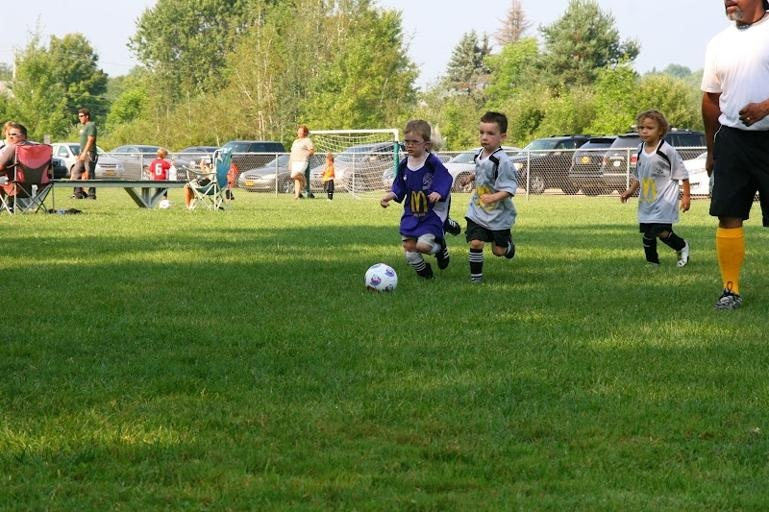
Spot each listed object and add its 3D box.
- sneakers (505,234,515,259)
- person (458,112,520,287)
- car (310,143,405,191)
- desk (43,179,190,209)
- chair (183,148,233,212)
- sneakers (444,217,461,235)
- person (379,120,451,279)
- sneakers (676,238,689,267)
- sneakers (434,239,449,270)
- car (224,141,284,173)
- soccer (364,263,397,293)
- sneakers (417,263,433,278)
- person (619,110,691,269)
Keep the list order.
[{"bbox_3d":[1.308,-0.066,11.313,0.097,0.257,0.120,-6,40,16],"label":"sneakers"},{"bbox_3d":[1.074,-0.590,11.181,0.502,1.669,0.751,1,5,4],"label":"person"},{"bbox_3d":[-0.638,-2.209,27.995,2.103,0.853,1.233,0,2,-7],"label":"car"},{"bbox_3d":[-4.316,-1.045,18.904,1.860,0.543,3.590,0,6,-9],"label":"desk"},{"bbox_3d":[-3.094,-1.238,19.306,0.944,0.963,0.890,-6,5,-5],"label":"chair"},{"bbox_3d":[0.691,-0.296,11.678,0.104,0.114,0.278,-10,-22,20],"label":"sneakers"},{"bbox_3d":[0.345,-0.560,11.200,0.641,1.591,0.462,1,5,3],"label":"person"},{"bbox_3d":[3.202,-0.015,11.858,0.164,0.308,0.111,11,-7,-14],"label":"sneakers"},{"bbox_3d":[0.592,0.001,11.418,0.131,0.325,0.151,-7,9,-2],"label":"sneakers"},{"bbox_3d":[-3.526,-2.855,31.153,2.044,0.857,1.183,-3,4,-38],"label":"car"},{"bbox_3d":[-0.037,0.222,10.586,0.289,0.251,0.259,2,-9,7],"label":"soccer"},{"bbox_3d":[0.415,0.161,11.295,0.143,0.131,0.159,-1,12,4],"label":"sneakers"},{"bbox_3d":[2.862,-0.701,11.715,0.674,1.644,0.718,2,5,14],"label":"person"}]
